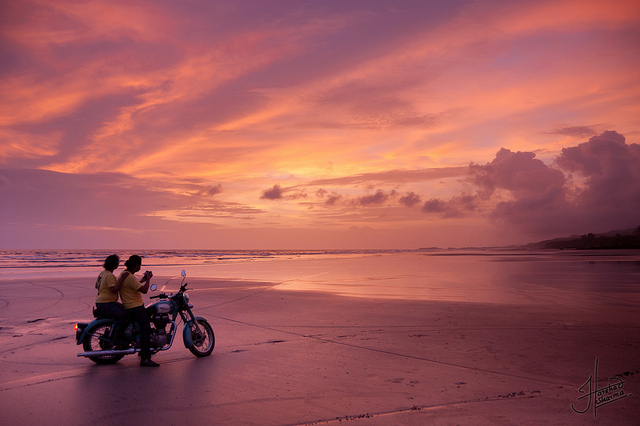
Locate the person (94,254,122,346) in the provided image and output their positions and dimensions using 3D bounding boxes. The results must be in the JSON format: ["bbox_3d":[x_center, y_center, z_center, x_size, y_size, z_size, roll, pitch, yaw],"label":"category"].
[{"bbox_3d":[-5.732,2.295,13.704,0.635,2.331,0.955,1,-3,-23],"label":"person"}]
